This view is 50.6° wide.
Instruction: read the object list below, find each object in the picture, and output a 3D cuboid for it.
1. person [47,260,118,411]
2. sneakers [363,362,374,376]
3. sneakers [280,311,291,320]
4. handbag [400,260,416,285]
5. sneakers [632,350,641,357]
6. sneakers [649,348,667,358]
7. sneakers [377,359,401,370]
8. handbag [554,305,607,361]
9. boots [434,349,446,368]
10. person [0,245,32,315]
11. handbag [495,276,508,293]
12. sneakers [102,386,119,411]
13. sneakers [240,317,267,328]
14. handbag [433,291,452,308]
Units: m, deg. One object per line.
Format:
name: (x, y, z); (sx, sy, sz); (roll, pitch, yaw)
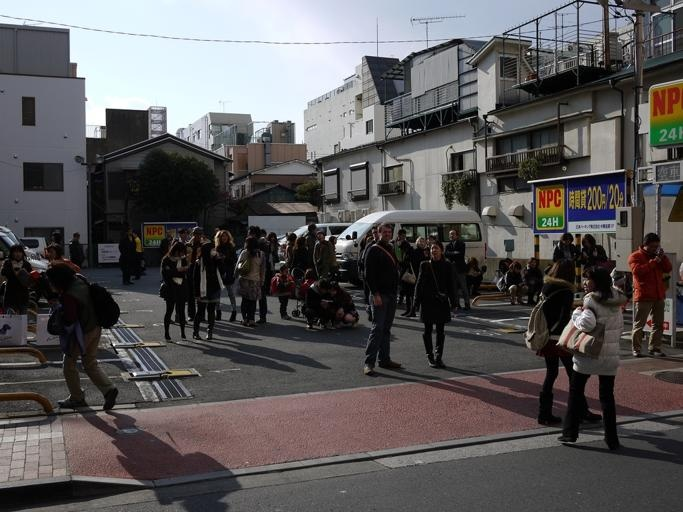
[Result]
person: (-3.577, 1.101, 10.041); (0.936, 2.036, 0.548); (-1, 5, -19)
sneakers: (0.429, 1.856, 11.881); (0.129, 0.169, 0.420); (0, -7, -4)
sneakers: (-1.365, 1.474, 17.646); (0.235, 0.185, 0.118); (-13, -12, 36)
handbag: (1.645, 0.407, 17.990); (0.236, 0.879, 0.559); (2, -2, -27)
sneakers: (5.350, 1.772, 13.177); (0.157, 0.091, 0.276); (3, 6, 22)
sneakers: (5.729, 1.785, 13.188); (0.113, 0.123, 0.262); (0, -4, -14)
sneakers: (0.801, 1.845, 12.334); (0.390, 0.196, 0.155); (1, 2, 2)
handbag: (2.924, 1.025, 8.962); (0.212, 0.577, 0.545); (36, -22, -28)
boots: (1.689, 1.741, 12.524); (0.165, 0.266, 0.540); (1, 6, 7)
person: (-6.475, 0.459, 14.394); (0.546, 1.365, 0.466); (-2, 5, -26)
handbag: (4.644, 0.840, 21.295); (0.252, 0.446, 0.418); (2, 22, 7)
sneakers: (-3.215, 1.979, 10.039); (0.092, 0.284, 0.176); (20, -5, -28)
sneakers: (-1.973, 1.545, 16.609); (0.212, 0.287, 0.651); (-7, -13, 42)
handbag: (1.679, 0.748, 12.521); (0.273, 0.319, 0.103); (-6, -4, -21)
